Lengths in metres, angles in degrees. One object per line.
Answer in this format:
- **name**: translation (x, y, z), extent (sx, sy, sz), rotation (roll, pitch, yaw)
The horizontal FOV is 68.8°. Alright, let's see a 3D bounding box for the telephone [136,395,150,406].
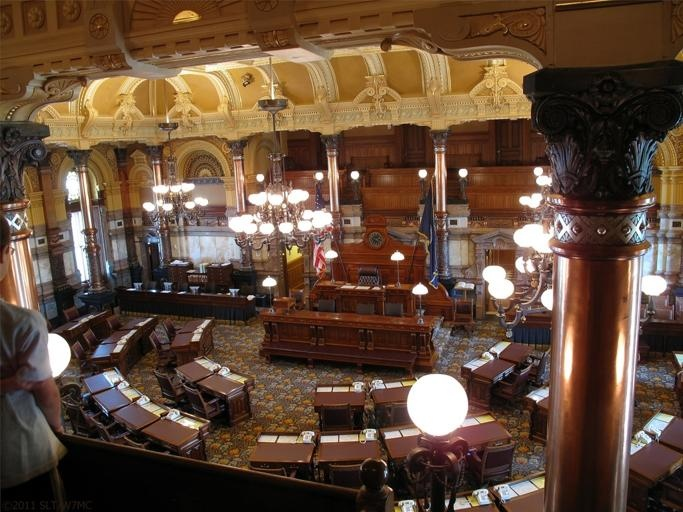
- **telephone**: translation (-3.690, 2.675, 9.264), extent (0.229, 0.103, 0.083), rotation (4, 3, 19)

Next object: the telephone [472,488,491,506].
- **telephone**: translation (1.782, 3.040, 6.322), extent (0.228, 0.123, 0.247), rotation (-5, 6, 2)

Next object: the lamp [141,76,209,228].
- **lamp**: translation (-4.954, -2.789, 14.474), extent (1.837, 3.866, 1.818), rotation (11, 19, 42)

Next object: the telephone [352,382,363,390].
- **telephone**: translation (0.300, 2.415, 9.271), extent (0.164, 0.159, 0.088), rotation (1, 0, 3)

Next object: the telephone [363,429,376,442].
- **telephone**: translation (0.443, 2.798, 7.826), extent (0.158, 0.082, 0.139), rotation (0, 9, 0)

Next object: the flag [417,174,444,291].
- **flag**: translation (2.325, -0.827, 13.215), extent (0.584, 3.295, 0.508), rotation (6, 12, 35)

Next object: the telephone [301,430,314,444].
- **telephone**: translation (-0.535, 2.849, 7.902), extent (0.172, 0.083, 0.159), rotation (1, 5, -1)

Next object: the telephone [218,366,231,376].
- **telephone**: translation (-2.435, 2.383, 10.333), extent (0.339, 0.093, 0.244), rotation (-1, 8, 43)

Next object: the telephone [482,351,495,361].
- **telephone**: translation (3.032, 2.056, 10.287), extent (0.245, 0.095, 0.338), rotation (0, 8, 44)

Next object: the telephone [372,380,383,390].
- **telephone**: translation (0.669, 2.378, 9.260), extent (0.194, 0.150, 0.114), rotation (0, -4, 1)

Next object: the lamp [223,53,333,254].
- **lamp**: translation (-1.360, -2.145, 10.318), extent (1.956, 3.847, 2.004), rotation (-3, 9, 0)
